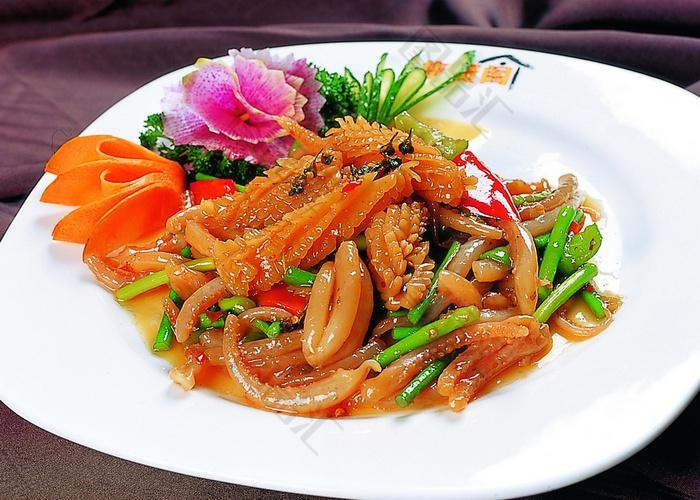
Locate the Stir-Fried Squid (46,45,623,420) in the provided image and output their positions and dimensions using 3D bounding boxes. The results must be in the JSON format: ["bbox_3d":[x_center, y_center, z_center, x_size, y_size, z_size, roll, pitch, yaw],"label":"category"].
[{"bbox_3d":[0.215,-0.085,3.687,2.644,3.308,1.896,1,-71,-16],"label":"Stir-Fried Squid"}]
